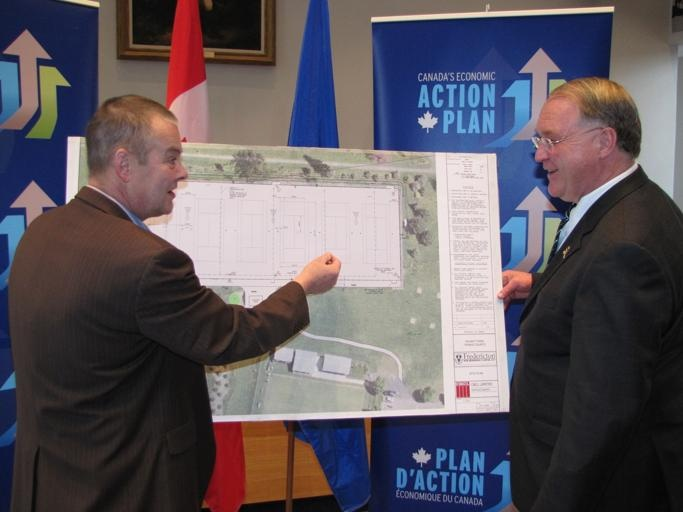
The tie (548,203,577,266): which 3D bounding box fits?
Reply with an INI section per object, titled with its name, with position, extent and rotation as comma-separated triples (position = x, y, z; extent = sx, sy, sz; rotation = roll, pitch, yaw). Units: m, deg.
[tie]
position = 0.878, -0.093, 2.692
extent = 0.027, 0.279, 0.040
rotation = 7, -11, 32
